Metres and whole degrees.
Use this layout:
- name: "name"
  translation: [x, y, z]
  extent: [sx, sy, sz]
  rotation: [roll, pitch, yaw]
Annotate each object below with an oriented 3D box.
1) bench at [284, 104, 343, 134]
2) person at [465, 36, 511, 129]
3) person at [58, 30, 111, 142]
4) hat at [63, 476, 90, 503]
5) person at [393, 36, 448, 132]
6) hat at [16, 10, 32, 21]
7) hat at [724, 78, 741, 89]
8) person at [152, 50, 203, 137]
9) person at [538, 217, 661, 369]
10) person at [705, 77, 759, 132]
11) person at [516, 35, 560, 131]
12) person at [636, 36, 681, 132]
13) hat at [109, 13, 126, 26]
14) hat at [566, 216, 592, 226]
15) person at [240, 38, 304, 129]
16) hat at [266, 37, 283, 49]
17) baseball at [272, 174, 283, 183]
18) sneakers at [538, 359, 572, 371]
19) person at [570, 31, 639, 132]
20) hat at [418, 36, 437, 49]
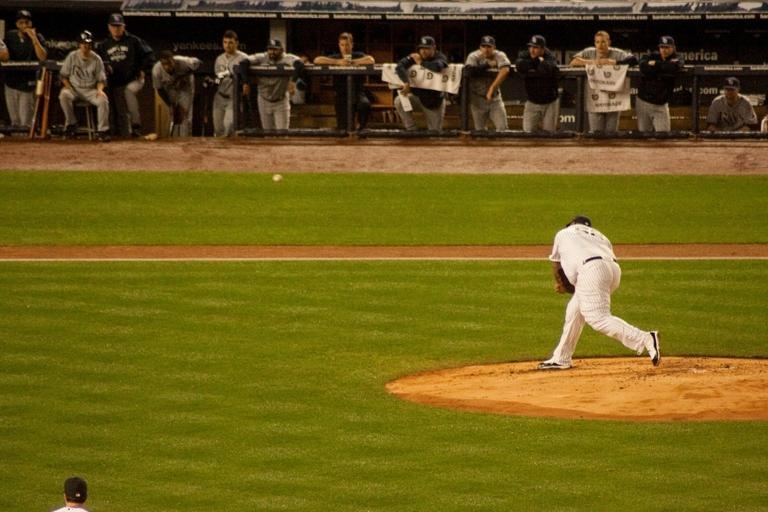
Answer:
- name: "bench"
  translation: [-1.438, -2.791, 38.386]
  extent: [1.348, 0.483, 0.284]
  rotation: [4, 10, -3]
- name: "person"
  translation: [2.077, -3.417, 37.827]
  extent: [0.889, 1.878, 0.703]
  rotation: [0, 7, 2]
- name: "person"
  translation: [-6.058, -3.383, 37.937]
  extent: [0.864, 2.147, 1.277]
  rotation: [-6, 10, -41]
- name: "hat"
  translation: [-4.204, 3.173, 25.574]
  extent: [0.284, 0.361, 0.242]
  rotation: [-1, 7, -8]
- name: "person"
  translation: [0.749, -3.426, 37.896]
  extent: [1.061, 1.877, 0.644]
  rotation: [0, 7, -2]
- name: "hat"
  translation: [-7.429, -4.901, 38.696]
  extent: [0.393, 0.153, 0.513]
  rotation: [-3, 2, -16]
- name: "hat"
  translation: [6.989, -3.436, 37.634]
  extent: [0.273, 0.223, 0.189]
  rotation: [0, 7, -3]
- name: "person"
  translation: [-4.256, -3.285, 38.492]
  extent: [0.885, 1.748, 1.302]
  rotation: [1, 7, 3]
- name: "person"
  translation: [3.318, 0.652, 29.721]
  extent: [1.678, 2.361, 0.555]
  rotation: [4, 9, 31]
- name: "person"
  translation: [7.037, -2.923, 38.074]
  extent: [1.019, 1.180, 1.264]
  rotation: [9, 15, 41]
- name: "person"
  translation: [3.131, -3.411, 37.909]
  extent: [0.858, 1.910, 0.509]
  rotation: [1, 7, 4]
- name: "person"
  translation: [5.541, -3.171, 37.900]
  extent: [0.905, 1.465, 0.682]
  rotation: [0, 7, 2]
- name: "hat"
  translation: [-5.359, -4.682, 37.750]
  extent: [0.384, 0.266, 0.507]
  rotation: [0, 6, -8]
- name: "hat"
  translation: [3.157, -0.583, 30.076]
  extent: [0.250, 0.255, 0.324]
  rotation: [3, -5, -42]
- name: "person"
  translation: [-2.281, -3.396, 38.001]
  extent: [1.290, 1.812, 0.774]
  rotation: [1, 7, 4]
- name: "hat"
  translation: [-2.203, -4.279, 38.217]
  extent: [0.306, 0.179, 0.384]
  rotation: [0, 0, 5]
- name: "baseball"
  translation: [-2.177, -1.563, 38.012]
  extent: [0.151, 0.100, 0.184]
  rotation: [3, 9, 6]
- name: "sneakers"
  translation: [2.732, 1.720, 30.110]
  extent: [0.584, 0.195, 0.182]
  rotation: [4, 16, 3]
- name: "person"
  translation: [4.380, -3.454, 37.944]
  extent: [1.227, 2.041, 0.534]
  rotation: [1, 7, 5]
- name: "hat"
  translation: [0.870, -4.263, 37.934]
  extent: [0.361, 0.238, 0.452]
  rotation: [3, 6, 10]
